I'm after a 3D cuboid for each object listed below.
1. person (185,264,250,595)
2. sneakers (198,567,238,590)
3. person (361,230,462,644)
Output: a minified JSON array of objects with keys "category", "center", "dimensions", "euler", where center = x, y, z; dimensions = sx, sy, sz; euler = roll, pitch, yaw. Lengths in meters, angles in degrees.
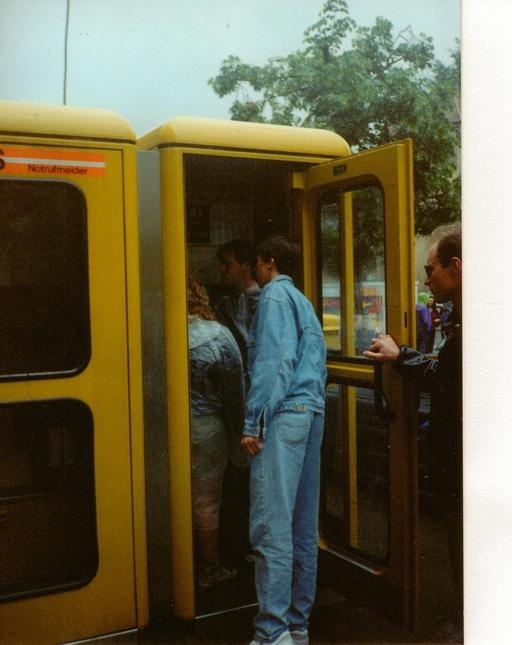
[{"category":"person","center":[-0.173,0.522,2.958],"dimensions":[0.161,1.427,0.369],"euler":[0,5,26]},{"category":"sneakers","center":[-0.175,1.200,2.987],"dimensions":[0.072,0.083,0.212],"euler":[0,1,32]},{"category":"person","center":[0.773,0.562,2.680],"dimensions":[0.313,1.860,0.590],"euler":[2,6,45]}]
